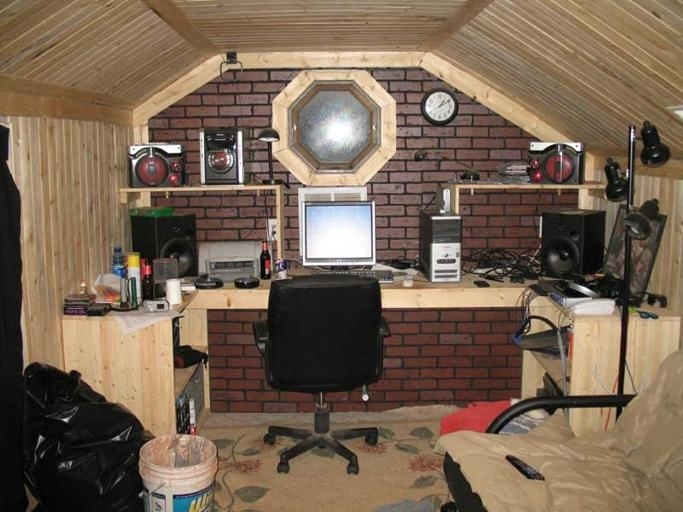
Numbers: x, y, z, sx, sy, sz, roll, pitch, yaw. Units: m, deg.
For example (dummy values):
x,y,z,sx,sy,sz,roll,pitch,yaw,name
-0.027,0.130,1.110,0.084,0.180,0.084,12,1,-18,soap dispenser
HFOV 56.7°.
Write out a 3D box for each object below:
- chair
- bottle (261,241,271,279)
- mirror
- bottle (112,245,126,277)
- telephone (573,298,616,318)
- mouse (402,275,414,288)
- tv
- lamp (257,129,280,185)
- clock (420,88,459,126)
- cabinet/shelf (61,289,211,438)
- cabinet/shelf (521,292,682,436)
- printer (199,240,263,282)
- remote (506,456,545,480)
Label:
x,y,z,sx,sy,sz,roll,pitch,yaw,name
-0.105,0.677,3.777,0.783,1.265,0.430,-3,15,-6,chair
-0.519,0.027,4.348,0.076,0.249,0.125,-3,15,-6,bottle
-0.032,-0.940,4.745,0.941,0.810,0.231,3,12,0,mirror
-1.403,0.025,4.005,0.078,0.193,0.218,-6,15,-16,bottle
1.415,0.290,3.539,0.194,0.072,0.103,0,3,4,telephone
0.436,0.163,4.138,0.074,0.045,0.069,-1,-1,2,mouse
-0.022,-0.159,4.427,0.523,0.389,0.035,0,4,1,tv
-0.510,-0.714,4.511,0.144,0.384,0.361,-3,14,-7,lamp
0.708,-1.081,4.596,0.305,0.266,0.043,-4,11,-20,clock
-1.199,0.647,3.981,0.700,0.835,1.203,-1,2,-3,cabinet/shelf
1.559,0.820,4.130,0.706,1.056,1.212,-1,8,3,cabinet/shelf
-0.763,0.011,4.445,0.441,0.342,0.272,1,11,-1,printer
0.792,0.908,2.723,0.056,0.024,0.170,-11,6,-14,remote
